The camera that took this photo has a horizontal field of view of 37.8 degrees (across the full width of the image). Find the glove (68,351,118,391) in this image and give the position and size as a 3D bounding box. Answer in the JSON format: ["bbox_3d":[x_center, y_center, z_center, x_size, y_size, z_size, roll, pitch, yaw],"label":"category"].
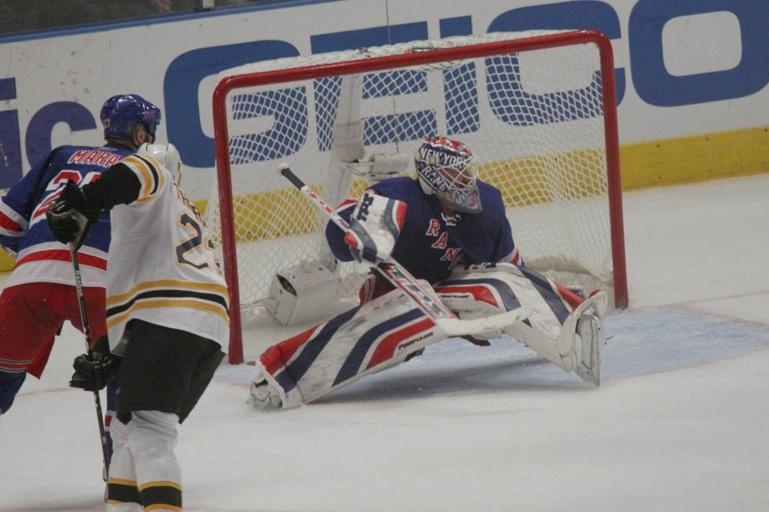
[{"bbox_3d":[-1.350,0.530,5.221,0.171,0.217,0.100,13,30,-23],"label":"glove"}]

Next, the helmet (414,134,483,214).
[{"bbox_3d":[0.360,-0.458,6.331,0.461,0.414,0.345,7,10,15],"label":"helmet"}]

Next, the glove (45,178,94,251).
[{"bbox_3d":[-1.452,-0.189,5.174,0.131,0.293,0.216,27,-18,-37],"label":"glove"}]
